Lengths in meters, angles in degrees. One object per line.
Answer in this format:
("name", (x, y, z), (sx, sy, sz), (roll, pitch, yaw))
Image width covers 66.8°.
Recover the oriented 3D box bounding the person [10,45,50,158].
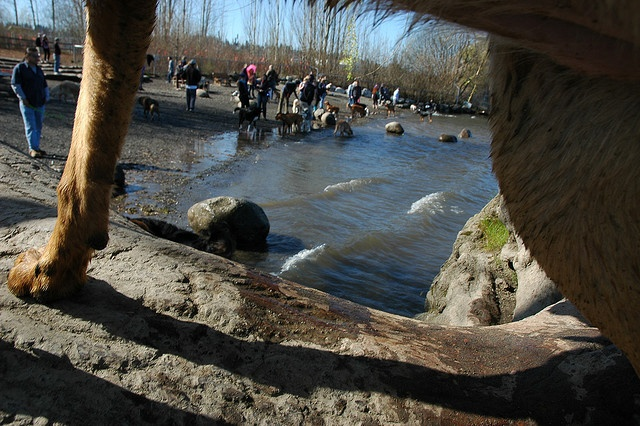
("person", (-5.783, -2.183, 9.777), (0.571, 2.242, 1.315), (-2, 20, -29))
